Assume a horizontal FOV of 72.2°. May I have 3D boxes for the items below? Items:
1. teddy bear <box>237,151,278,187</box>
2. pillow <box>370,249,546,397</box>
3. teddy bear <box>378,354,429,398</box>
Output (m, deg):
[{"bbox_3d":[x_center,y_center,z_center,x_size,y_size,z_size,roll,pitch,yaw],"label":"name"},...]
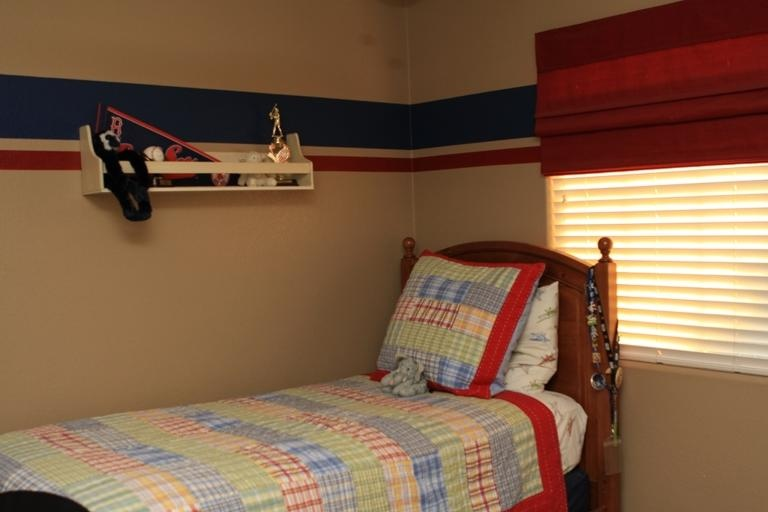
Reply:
[{"bbox_3d":[-0.704,-0.453,2.988,0.267,0.259,0.181,2,11,-3],"label":"teddy bear"},{"bbox_3d":[0.413,0.342,2.778,0.748,0.739,0.230,11,-14,41],"label":"pillow"},{"bbox_3d":[0.099,0.605,2.750,0.199,0.144,0.208,-1,6,-35],"label":"teddy bear"}]
